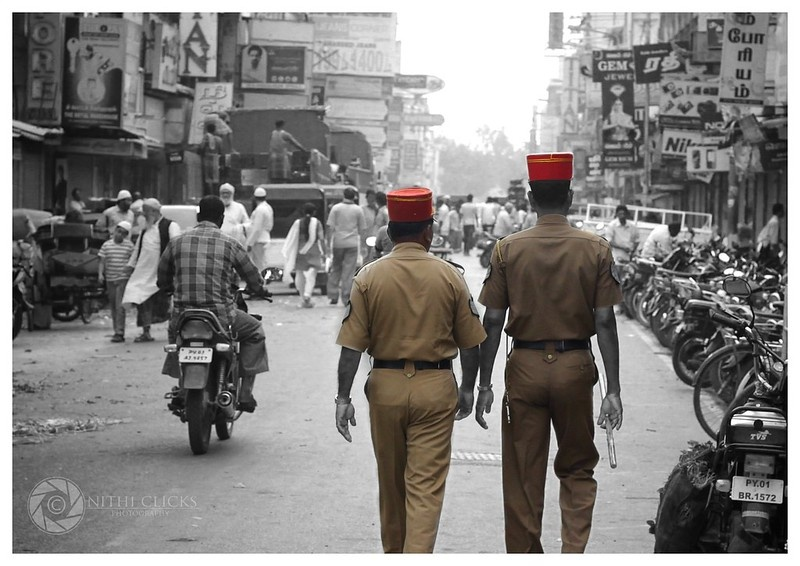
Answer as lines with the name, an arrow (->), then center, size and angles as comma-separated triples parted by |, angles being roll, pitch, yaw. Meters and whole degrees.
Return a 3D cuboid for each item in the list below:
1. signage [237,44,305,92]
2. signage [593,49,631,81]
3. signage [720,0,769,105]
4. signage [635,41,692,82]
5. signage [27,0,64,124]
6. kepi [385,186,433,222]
signage -> -3.374, -5.770, 33.255 | 1.937, 1.194, 0.220 | 4, 6, 11
signage -> 4.294, -4.319, 24.724 | 0.838, 0.627, 0.783 | 4, 6, 8
signage -> 5.049, -3.266, 18.018 | 0.663, 1.332, 0.518 | 3, 6, 5
signage -> 4.889, -4.051, 22.885 | 1.016, 0.736, 0.147 | 0, 0, 3
signage -> -6.608, -3.935, 22.965 | 0.677, 2.065, 0.542 | 1, 6, -16
kepi -> 0.098, -0.637, 10.022 | 0.326, 0.206, 0.257 | -1, 8, -5
